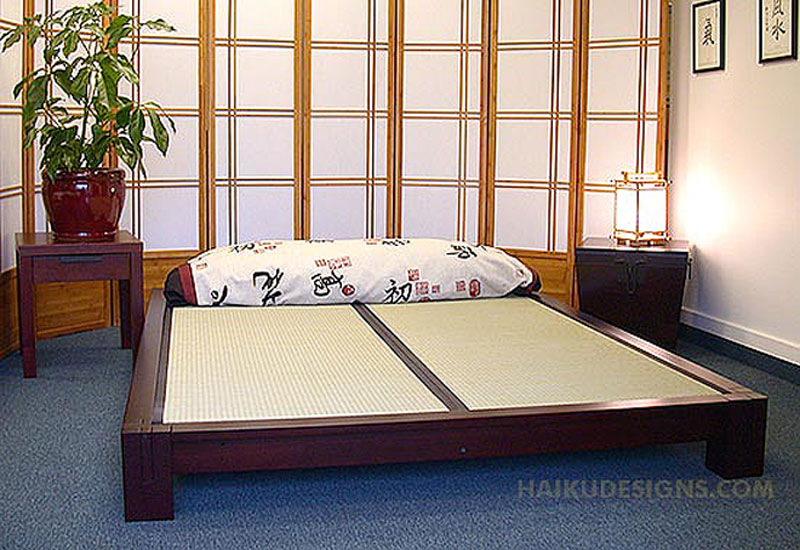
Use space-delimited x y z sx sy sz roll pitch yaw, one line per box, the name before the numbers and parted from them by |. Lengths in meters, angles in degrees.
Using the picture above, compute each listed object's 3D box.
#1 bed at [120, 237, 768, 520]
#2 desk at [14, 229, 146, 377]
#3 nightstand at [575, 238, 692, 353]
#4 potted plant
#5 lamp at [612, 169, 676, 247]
bed | 0.023 0.491 2.705 2.290 0.346 1.674 -3 13 -16
desk | -1.732 0.176 3.684 0.865 0.922 0.872 -1 9 -16
nightstand | 1.519 0.064 3.808 0.662 0.582 0.536 3 21 25
potted plant | -1.888 -1.007 3.703 0.919 1.444 1.080 -5 14 -23
lamp | 1.656 -0.456 3.835 0.287 0.441 0.290 -26 19 -35
